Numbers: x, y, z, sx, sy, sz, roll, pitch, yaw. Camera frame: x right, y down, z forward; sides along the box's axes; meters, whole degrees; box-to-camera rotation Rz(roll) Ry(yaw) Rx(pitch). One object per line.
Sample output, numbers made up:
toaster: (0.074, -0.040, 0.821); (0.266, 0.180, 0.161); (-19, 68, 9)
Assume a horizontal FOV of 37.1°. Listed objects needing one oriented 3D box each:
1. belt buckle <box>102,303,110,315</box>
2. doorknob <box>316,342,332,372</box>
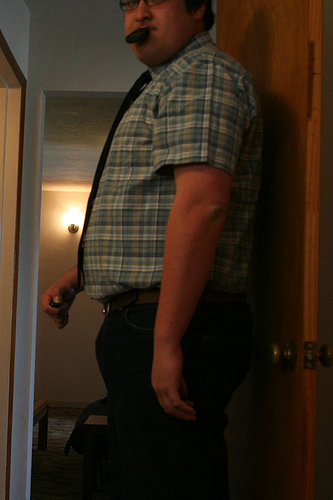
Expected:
belt buckle: (-0.108, 0.105, 0.899); (0.016, 0.022, 0.009); (0, 6, 4)
doorknob: (0.260, 0.173, 0.810); (0.024, 0.045, 0.067); (3, 1, 20)
